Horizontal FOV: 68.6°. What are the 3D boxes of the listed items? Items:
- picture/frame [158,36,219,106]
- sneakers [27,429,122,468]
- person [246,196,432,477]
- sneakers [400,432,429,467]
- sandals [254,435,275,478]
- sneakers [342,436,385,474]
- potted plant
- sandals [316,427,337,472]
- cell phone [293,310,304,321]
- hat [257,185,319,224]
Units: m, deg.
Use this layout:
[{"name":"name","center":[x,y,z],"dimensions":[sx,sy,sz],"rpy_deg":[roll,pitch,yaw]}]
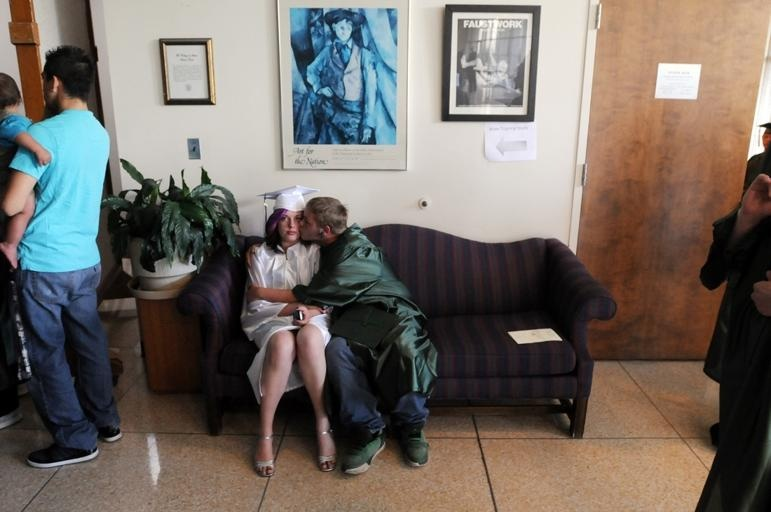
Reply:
[{"name":"picture/frame","center":[-1.272,-1.204,3.628],"dimensions":[0.432,0.502,0.054],"rpy_deg":[0,11,-2]},{"name":"sneakers","center":[-1.765,1.095,3.179],"dimensions":[0.496,0.186,0.163],"rpy_deg":[0,17,-16]},{"name":"person","center":[-0.127,0.407,3.220],"dimensions":[0.722,1.350,0.983],"rpy_deg":[-15,23,-35]},{"name":"sneakers","center":[0.158,1.065,3.126],"dimensions":[0.136,0.148,0.149],"rpy_deg":[-3,18,-7]},{"name":"sandals","center":[-0.648,1.094,3.052],"dimensions":[0.080,0.098,0.236],"rpy_deg":[0,7,-7]},{"name":"sneakers","center":[-0.121,1.077,3.119],"dimensions":[0.108,0.110,0.283],"rpy_deg":[9,18,37]},{"name":"potted plant","center":[-1.298,-0.196,3.582],"dimensions":[0.841,0.686,0.837],"rpy_deg":[7,12,29]},{"name":"sandals","center":[-0.326,1.056,3.087],"dimensions":[0.083,0.092,0.233],"rpy_deg":[-3,31,-3]},{"name":"cell phone","center":[-0.489,0.335,3.161],"dimensions":[0.047,0.052,0.060],"rpy_deg":[5,-6,-5]},{"name":"hat","center":[-0.642,-0.292,3.508],"dimensions":[0.289,0.186,0.279],"rpy_deg":[0,7,22]}]
